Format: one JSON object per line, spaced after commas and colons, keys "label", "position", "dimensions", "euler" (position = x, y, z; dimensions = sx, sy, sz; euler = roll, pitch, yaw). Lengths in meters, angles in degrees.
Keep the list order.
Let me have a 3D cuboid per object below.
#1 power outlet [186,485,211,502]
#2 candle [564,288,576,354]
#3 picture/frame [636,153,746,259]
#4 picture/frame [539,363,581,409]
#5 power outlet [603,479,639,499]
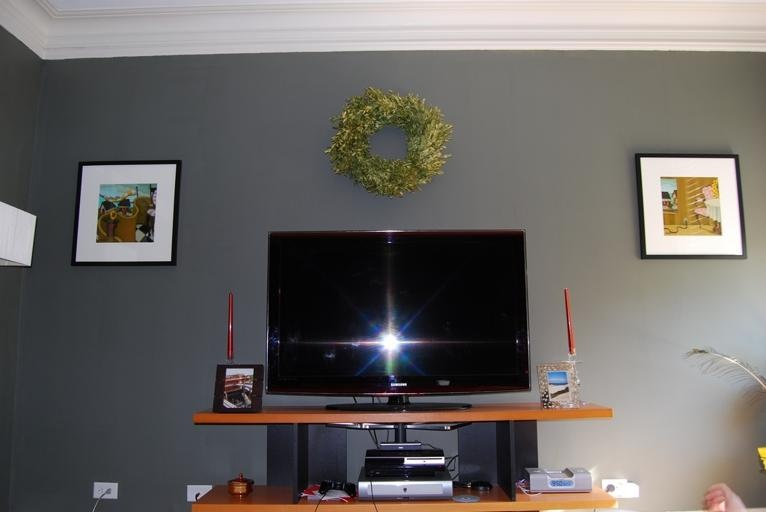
{"label": "power outlet", "position": [-1.122, 1.453, 3.824], "dimensions": [0.130, 0.080, 0.017], "euler": [1, -4, 3]}
{"label": "candle", "position": [1.141, 0.396, 3.862], "dimensions": [0.056, 0.437, 0.299], "euler": [-5, -13, 16]}
{"label": "picture/frame", "position": [1.959, -0.301, 4.047], "dimensions": [0.672, 0.672, 0.029], "euler": [0, -10, -1]}
{"label": "picture/frame", "position": [1.023, 0.766, 3.669], "dimensions": [0.248, 0.281, 0.032], "euler": [-2, -12, -4]}
{"label": "power outlet", "position": [1.462, 1.440, 3.870], "dimensions": [0.244, 0.127, 0.059], "euler": [0, -7, -2]}
